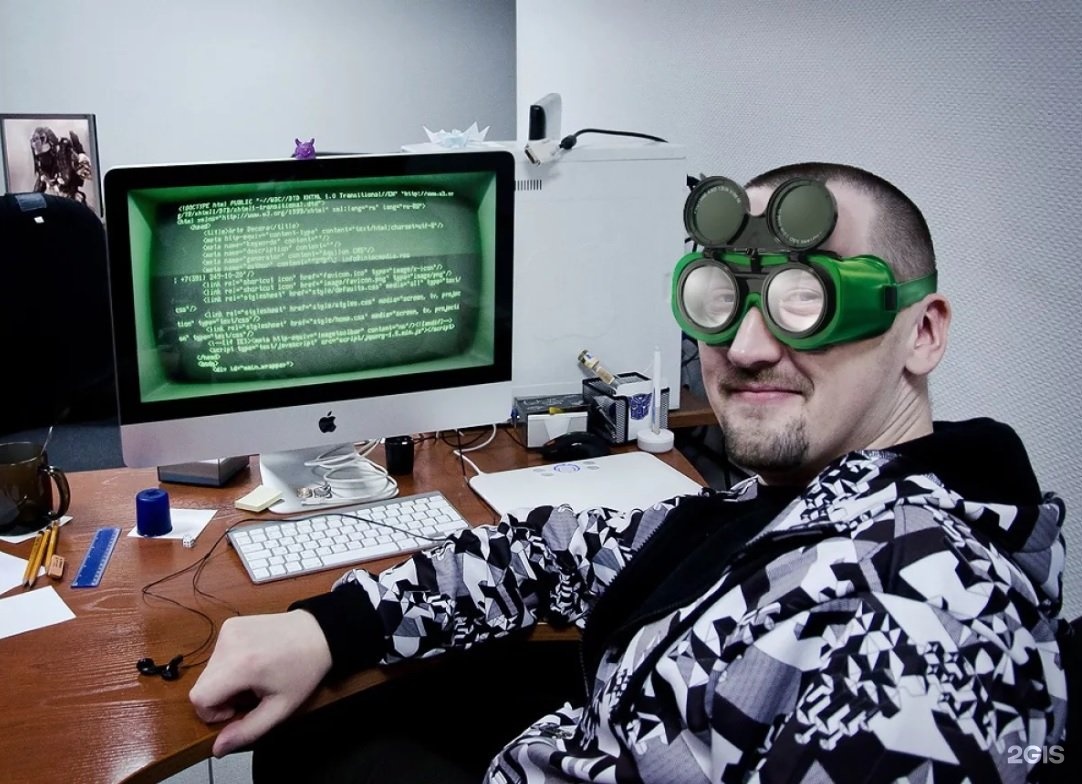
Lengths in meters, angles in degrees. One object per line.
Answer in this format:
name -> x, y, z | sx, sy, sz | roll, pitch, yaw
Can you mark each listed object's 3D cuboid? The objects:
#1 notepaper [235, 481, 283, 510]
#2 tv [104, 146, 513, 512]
notepaper -> -0.525, 0.187, 1.623 | 0.049, 0.012, 0.051 | 8, 24, 16
tv -> -0.416, -0.111, 1.593 | 0.649, 0.527, 0.207 | -8, 19, -23
